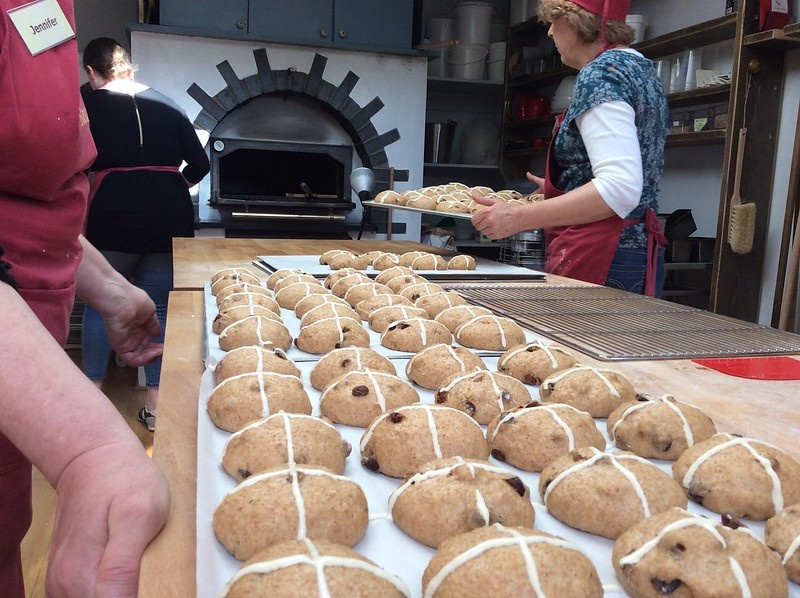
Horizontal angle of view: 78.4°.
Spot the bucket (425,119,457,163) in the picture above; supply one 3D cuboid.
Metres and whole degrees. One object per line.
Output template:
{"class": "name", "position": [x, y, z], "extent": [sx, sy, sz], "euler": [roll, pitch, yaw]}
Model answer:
{"class": "bucket", "position": [0.411, -1.597, 5.012], "extent": [0.297, 0.418, 0.275], "euler": [1, 15, 0]}

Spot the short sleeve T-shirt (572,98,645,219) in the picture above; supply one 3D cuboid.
{"class": "short sleeve T-shirt", "position": [0.709, -0.456, 1.629], "extent": [0.182, 0.338, 0.126], "euler": [-7, 9, 7]}

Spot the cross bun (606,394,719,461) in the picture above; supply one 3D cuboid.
{"class": "cross bun", "position": [0.390, 0.194, 0.738], "extent": [0.102, 0.050, 0.108], "euler": [10, 21, 35]}

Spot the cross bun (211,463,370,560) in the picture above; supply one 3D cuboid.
{"class": "cross bun", "position": [-0.122, 0.234, 0.552], "extent": [0.114, 0.039, 0.089], "euler": [6, 22, -17]}

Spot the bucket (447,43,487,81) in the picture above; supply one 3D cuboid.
{"class": "bucket", "position": [0.694, -2.351, 5.052], "extent": [0.375, 0.299, 0.391], "euler": [1, 14, 0]}

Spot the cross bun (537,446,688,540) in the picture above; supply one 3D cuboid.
{"class": "cross bun", "position": [0.266, 0.227, 0.607], "extent": [0.111, 0.044, 0.107], "euler": [-8, 21, -10]}
